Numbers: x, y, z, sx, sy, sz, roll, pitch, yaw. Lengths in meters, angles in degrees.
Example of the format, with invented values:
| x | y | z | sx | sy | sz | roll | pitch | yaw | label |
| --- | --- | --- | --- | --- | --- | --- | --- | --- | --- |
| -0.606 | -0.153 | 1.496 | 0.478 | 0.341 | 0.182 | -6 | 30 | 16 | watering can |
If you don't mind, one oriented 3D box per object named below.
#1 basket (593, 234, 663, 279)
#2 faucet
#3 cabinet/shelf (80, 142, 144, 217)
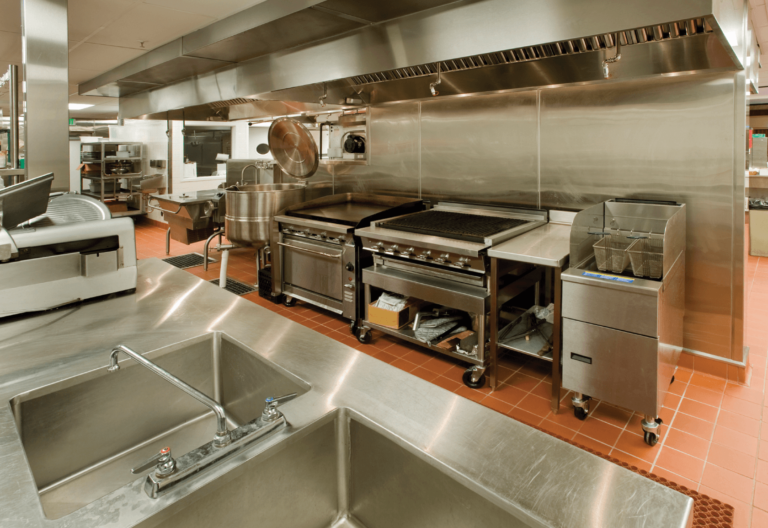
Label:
| x | y | z | sx | sy | sz | roll | pitch | yaw | label |
| --- | --- | --- | --- | --- | --- | --- | --- | --- | --- |
| 1.522 | -0.079 | 3.109 | 0.276 | 0.134 | 0.391 | -11 | 16 | -39 | basket |
| -0.874 | 0.506 | 1.962 | 0.686 | 0.168 | 0.090 | 30 | 28 | 14 | faucet |
| -5.448 | -1.719 | 10.059 | 1.360 | 1.582 | 0.913 | -10 | 17 | -13 | cabinet/shelf |
